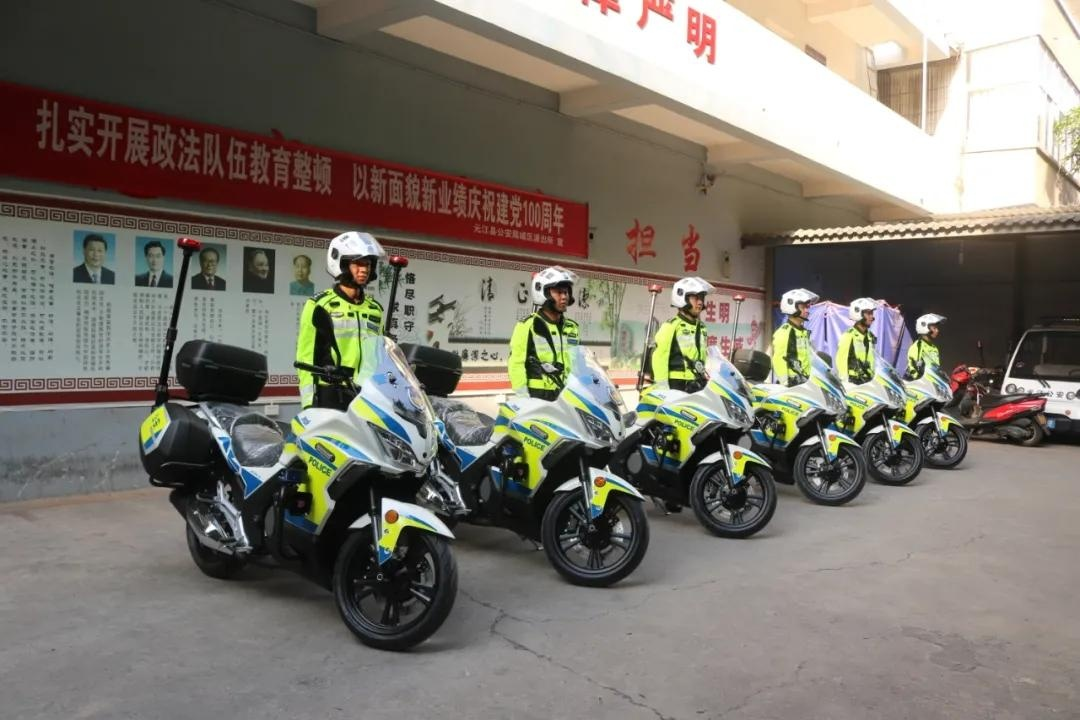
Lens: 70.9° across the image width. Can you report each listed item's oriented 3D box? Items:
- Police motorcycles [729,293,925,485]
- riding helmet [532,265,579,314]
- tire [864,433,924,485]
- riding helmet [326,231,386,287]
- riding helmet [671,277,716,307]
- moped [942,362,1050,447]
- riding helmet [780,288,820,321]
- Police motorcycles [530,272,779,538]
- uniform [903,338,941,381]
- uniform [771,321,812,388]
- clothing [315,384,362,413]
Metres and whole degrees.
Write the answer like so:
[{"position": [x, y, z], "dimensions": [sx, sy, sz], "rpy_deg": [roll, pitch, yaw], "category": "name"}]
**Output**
[{"position": [3.763, 0.371, 9.131], "dimensions": [3.312, 2.173, 1.174], "rpy_deg": [4, 4, 41], "category": "Police motorcycles"}, {"position": [0.131, -0.585, 6.322], "dimensions": [0.318, 0.334, 0.378], "rpy_deg": [3, -5, -40], "category": "riding helmet"}, {"position": [4.140, 1.180, 8.934], "dimensions": [0.545, 0.653, 0.186], "rpy_deg": [0, -1, -3], "category": "tire"}, {"position": [-1.327, -0.739, 5.525], "dimensions": [0.353, 0.400, 0.474], "rpy_deg": [-1, 3, -43], "category": "riding helmet"}, {"position": [1.503, -0.700, 7.682], "dimensions": [0.453, 0.390, 0.381], "rpy_deg": [0, 4, 28], "category": "riding helmet"}, {"position": [7.233, 0.763, 11.991], "dimensions": [1.489, 1.128, 0.615], "rpy_deg": [-1, -8, 10], "category": "moped"}, {"position": [3.158, -0.723, 9.285], "dimensions": [0.353, 0.468, 0.348], "rpy_deg": [3, 8, 20], "category": "riding helmet"}, {"position": [1.422, 0.434, 6.771], "dimensions": [3.242, 2.136, 1.102], "rpy_deg": [3, 4, 35], "category": "Police motorcycles"}, {"position": [5.444, 0.014, 10.888], "dimensions": [0.345, 0.647, 0.640], "rpy_deg": [-3, 4, 10], "category": "uniform"}, {"position": [2.957, -0.043, 8.932], "dimensions": [0.275, 0.711, 0.784], "rpy_deg": [1, 3, 24], "category": "uniform"}, {"position": [-1.393, 0.228, 5.104], "dimensions": [0.281, 0.155, 0.218], "rpy_deg": [6, 1, 31], "category": "clothing"}]
